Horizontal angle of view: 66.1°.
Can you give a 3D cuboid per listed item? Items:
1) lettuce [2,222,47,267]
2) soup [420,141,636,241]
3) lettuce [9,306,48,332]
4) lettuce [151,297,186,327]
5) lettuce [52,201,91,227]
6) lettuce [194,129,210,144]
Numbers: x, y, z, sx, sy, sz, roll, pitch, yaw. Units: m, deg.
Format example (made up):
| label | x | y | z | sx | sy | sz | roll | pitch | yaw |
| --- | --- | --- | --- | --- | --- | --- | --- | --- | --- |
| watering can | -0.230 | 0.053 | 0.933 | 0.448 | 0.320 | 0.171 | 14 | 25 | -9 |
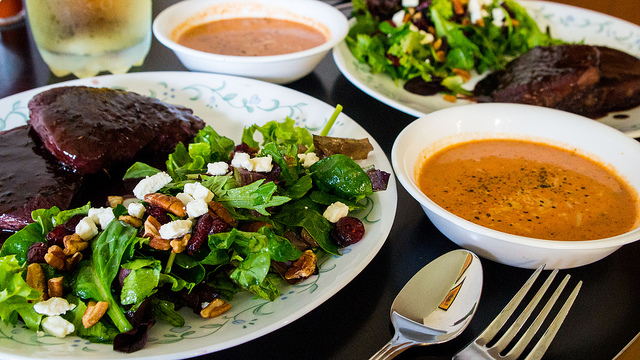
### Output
| label | x | y | z | sx | sy | sz | roll | pitch | yaw |
| --- | --- | --- | --- | --- | --- | --- | --- | --- | --- |
| lettuce | -1.145 | 0.244 | 1.946 | 0.151 | 0.041 | 0.164 | 48 | 62 | 2 |
| soup | 0.942 | -0.013 | 2.148 | 0.601 | 0.072 | 0.523 | 6 | 30 | 10 |
| lettuce | -1.055 | 0.495 | 1.769 | 0.119 | 0.055 | 0.072 | 17 | 58 | 12 |
| lettuce | -0.567 | 0.492 | 1.819 | 0.166 | 0.033 | 0.057 | 27 | 83 | 1 |
| lettuce | -0.974 | 0.147 | 1.979 | 0.096 | 0.055 | 0.133 | 32 | 77 | 30 |
| lettuce | -0.557 | -0.197 | 2.293 | 0.025 | 0.075 | 0.063 | 14 | 72 | -42 |
